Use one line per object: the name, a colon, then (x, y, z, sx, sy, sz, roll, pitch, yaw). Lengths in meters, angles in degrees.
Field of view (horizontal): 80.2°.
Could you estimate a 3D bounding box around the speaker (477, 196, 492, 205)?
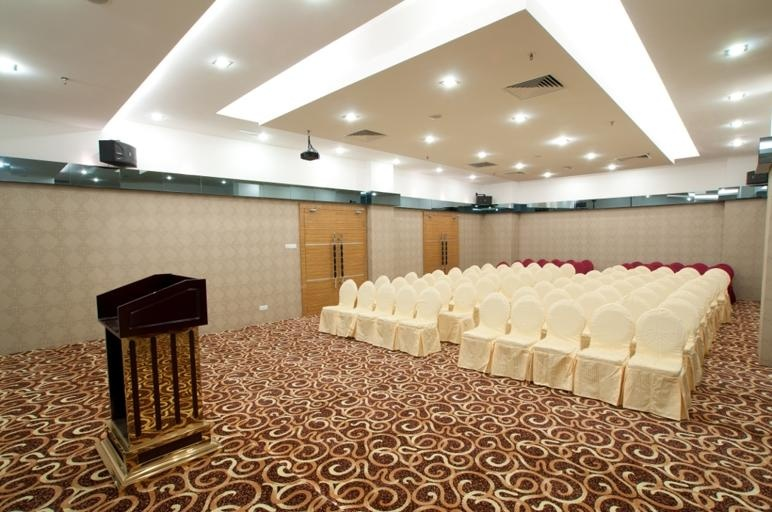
speaker: (3.307, -1.831, 15.253, 0.562, 0.357, 0.298, 0, -1, -7)
